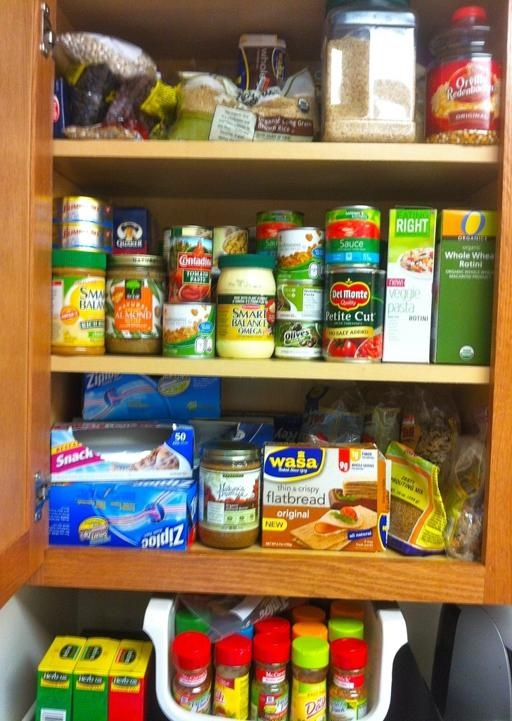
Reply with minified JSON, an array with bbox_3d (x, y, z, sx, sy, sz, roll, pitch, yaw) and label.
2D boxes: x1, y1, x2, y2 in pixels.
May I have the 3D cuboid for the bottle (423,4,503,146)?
[{"bbox_3d":[0.300,-0.413,0.890,0.099,0.203,0.179,0,13,18],"label":"bottle"}]

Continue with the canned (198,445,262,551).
[{"bbox_3d":[-0.035,0.203,0.974,0.127,0.194,0.130,1,2,7],"label":"canned"}]
